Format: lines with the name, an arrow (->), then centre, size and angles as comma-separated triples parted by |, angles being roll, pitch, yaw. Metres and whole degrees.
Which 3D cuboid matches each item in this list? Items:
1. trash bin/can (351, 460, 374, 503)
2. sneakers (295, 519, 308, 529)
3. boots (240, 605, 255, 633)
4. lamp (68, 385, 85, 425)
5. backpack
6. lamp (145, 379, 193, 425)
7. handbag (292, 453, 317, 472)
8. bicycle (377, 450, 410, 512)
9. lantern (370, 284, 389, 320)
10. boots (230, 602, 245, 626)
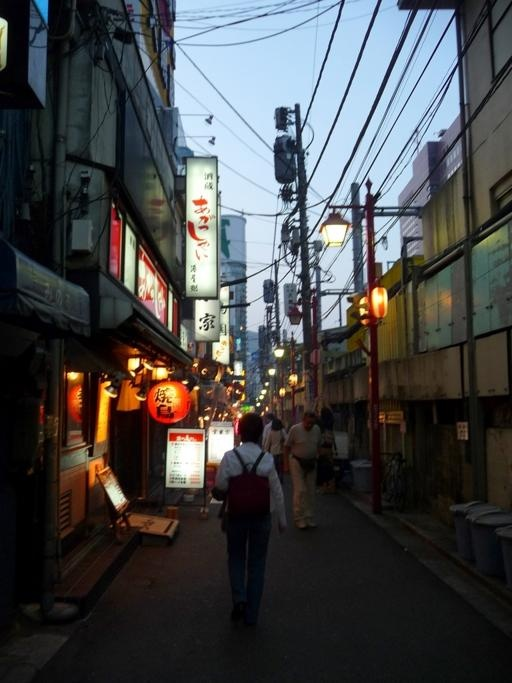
trash bin/can -> 2.719, 3.566, 15.676 | 0.367, 0.651, 0.690 | 0, -11, 2
sneakers -> 0.753, 3.111, 10.195 | 0.193, 0.132, 0.209 | -1, -6, 8
boots -> -0.072, 2.499, 5.453 | 0.145, 0.317, 0.138 | -2, -8, 3
lamp -> -2.469, 0.923, 8.345 | 0.093, 0.579, 1.049 | 1, -6, -10
backpack -> -0.087, 1.514, 5.927 | 0.417, 1.075, 0.488 | 1, -23, -2
lamp -> -1.799, 1.200, 12.142 | 0.615, 1.092, 0.712 | -3, 15, -22
handbag -> 0.817, 2.176, 10.550 | 0.229, 0.282, 0.251 | 9, -14, -30
bicycle -> 2.993, 3.097, 13.054 | 0.542, 0.992, 1.344 | 2, -10, -3
lantern -> 2.514, -0.737, 12.475 | 0.283, 0.704, 0.954 | -1, -6, 19
boots -> -0.171, 2.470, 5.494 | 0.088, 0.241, 0.200 | 1, -23, -1
